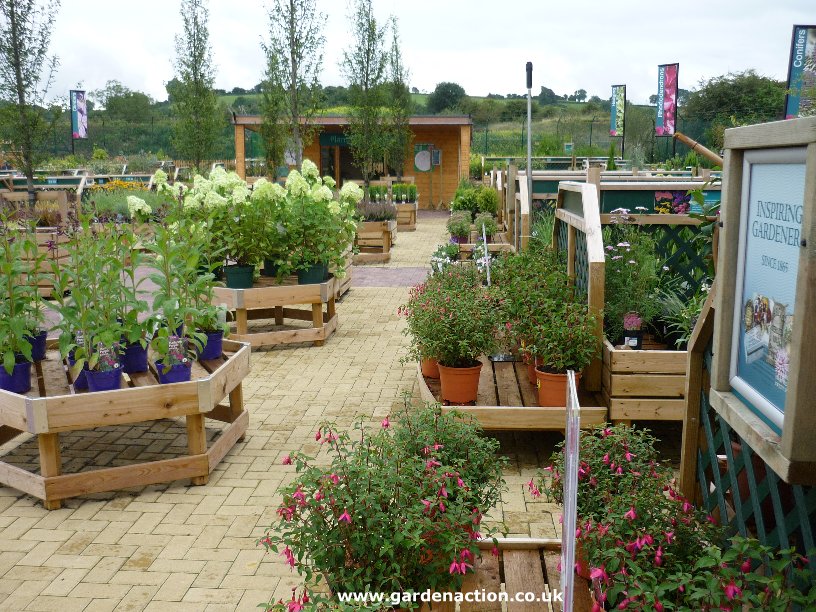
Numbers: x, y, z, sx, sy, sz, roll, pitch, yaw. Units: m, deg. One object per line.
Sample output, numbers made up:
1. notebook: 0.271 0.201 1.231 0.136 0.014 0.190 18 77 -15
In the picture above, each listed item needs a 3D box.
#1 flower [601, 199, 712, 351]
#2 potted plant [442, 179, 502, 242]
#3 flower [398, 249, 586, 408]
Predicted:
1. flower: 2.025 -0.198 5.150 0.943 1.108 1.763 6 15 26
2. potted plant: 1.511 -2.135 14.703 1.572 1.231 1.966 2 34 8
3. flower: 0.860 0.067 5.204 1.290 0.996 1.409 2 15 16
